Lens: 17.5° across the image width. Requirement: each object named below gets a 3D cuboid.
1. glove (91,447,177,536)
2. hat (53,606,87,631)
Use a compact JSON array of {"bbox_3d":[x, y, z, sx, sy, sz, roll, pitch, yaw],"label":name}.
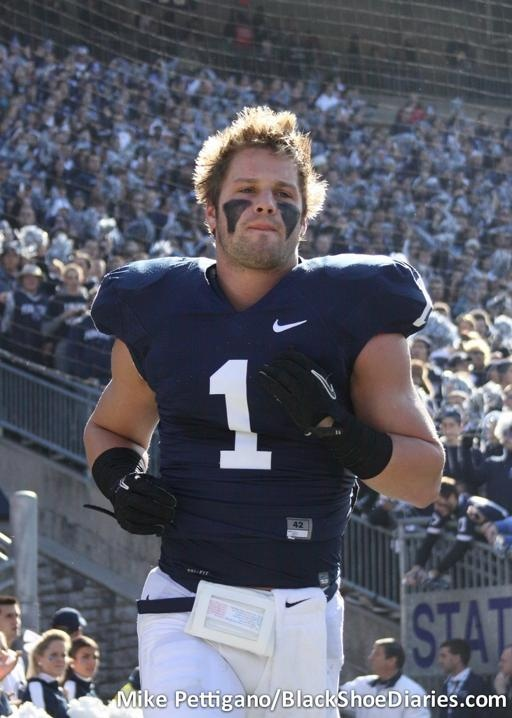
[{"bbox_3d":[-0.433,0.480,6.022,0.359,0.246,0.165,21,18,36],"label":"glove"},{"bbox_3d":[-0.921,1.306,8.323,0.163,0.083,0.105,-1,-4,-19],"label":"hat"}]
